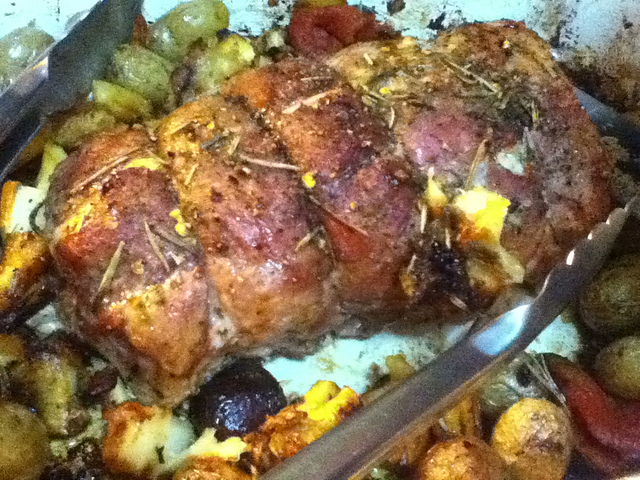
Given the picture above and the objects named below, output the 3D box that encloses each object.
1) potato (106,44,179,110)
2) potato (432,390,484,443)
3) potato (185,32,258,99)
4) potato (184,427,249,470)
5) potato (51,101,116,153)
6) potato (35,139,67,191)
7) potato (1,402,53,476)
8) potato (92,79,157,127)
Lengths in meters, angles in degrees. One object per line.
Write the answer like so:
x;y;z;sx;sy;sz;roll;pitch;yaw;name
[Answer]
-1.137;-1.001;6.427;0.550;0.381;0.119;-6;37;-32;potato
0.858;1.090;6.088;0.316;0.096;0.294;22;60;10;potato
-0.583;-1.141;6.481;0.555;0.187;0.303;-30;84;-3;potato
-0.605;1.263;5.958;0.313;0.087;0.232;-39;59;-15;potato
-1.381;-0.679;6.174;0.383;0.117;0.284;-36;67;-12;potato
-1.632;-0.451;6.100;0.224;0.080;0.287;39;104;41;potato
-1.679;1.123;5.716;0.107;0.340;0.367;-1;97;42;potato
-1.191;-0.854;6.216;0.409;0.103;0.234;24;61;-23;potato
